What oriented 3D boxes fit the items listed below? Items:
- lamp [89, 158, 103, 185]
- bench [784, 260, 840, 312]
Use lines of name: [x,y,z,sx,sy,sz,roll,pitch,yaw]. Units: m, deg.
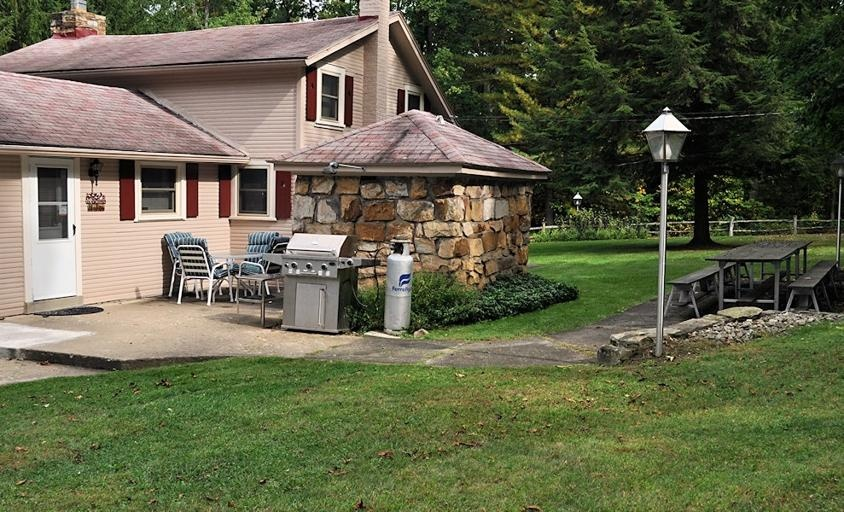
lamp: [-7.873,-2.029,16.553,0.185,0.615,0.342,0,1,17]
bench: [8.564,0.667,14.966,0.769,0.910,3.987,1,1,33]
